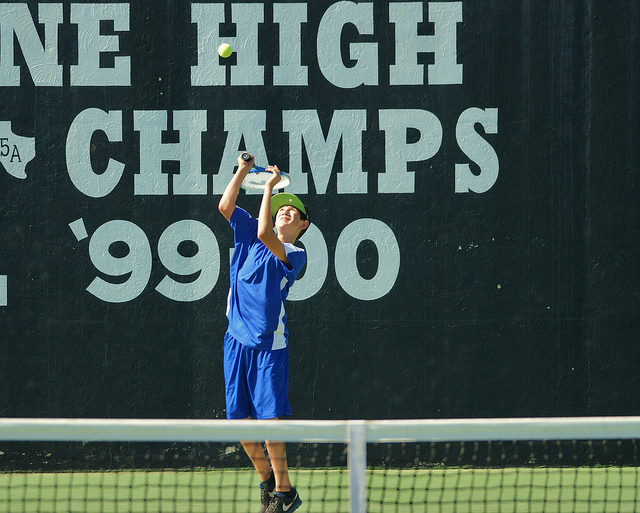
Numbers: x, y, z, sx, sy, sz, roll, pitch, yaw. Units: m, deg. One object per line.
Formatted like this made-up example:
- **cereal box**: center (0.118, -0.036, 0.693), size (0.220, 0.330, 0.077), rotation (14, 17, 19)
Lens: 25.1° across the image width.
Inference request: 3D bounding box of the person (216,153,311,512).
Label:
- **person**: center (-0.435, 0.581, 11.442), size (0.672, 2.816, 1.334), rotation (-2, 5, 10)

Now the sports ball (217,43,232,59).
- **sports ball**: center (-0.795, -1.744, 12.170), size (0.123, 0.134, 0.170), rotation (-4, 7, -4)
